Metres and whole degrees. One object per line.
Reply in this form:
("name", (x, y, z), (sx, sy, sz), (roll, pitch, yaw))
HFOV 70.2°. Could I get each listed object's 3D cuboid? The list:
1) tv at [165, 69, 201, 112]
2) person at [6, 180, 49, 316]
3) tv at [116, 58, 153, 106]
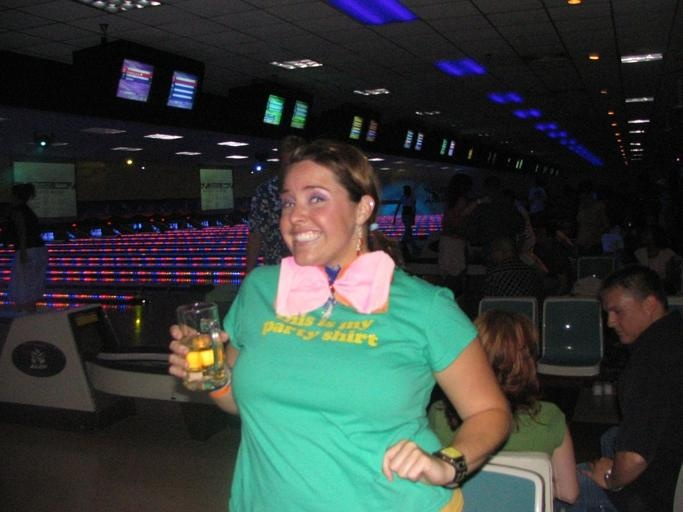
("tv", (-2.020, -2.137, 6.283), (0.127, 0.398, 0.488), (20, 13, 33))
("person", (-3.743, -0.084, 5.809), (0.450, 1.572, 0.501), (-8, 12, -28))
("tv", (-2.379, -2.050, 5.689), (0.138, 0.436, 0.470), (3, 10, 24))
